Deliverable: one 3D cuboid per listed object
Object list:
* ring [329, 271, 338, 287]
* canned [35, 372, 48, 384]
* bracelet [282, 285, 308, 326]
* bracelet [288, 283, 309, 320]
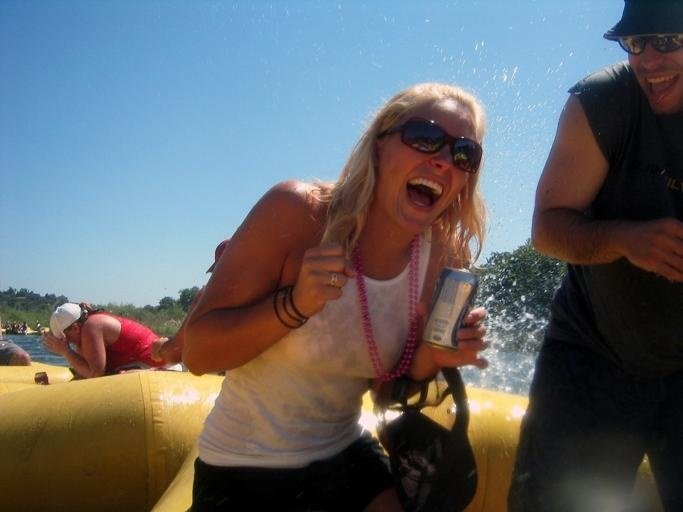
[{"bbox_3d":[-0.030,0.087,2.021,0.032,0.049,0.021,4,-9,3],"label":"ring"},{"bbox_3d":[-2.971,1.211,5.233,0.109,0.123,0.062,0,-3,1],"label":"canned"},{"bbox_3d":[-0.193,0.195,2.127,0.047,0.144,0.122,-7,8,20],"label":"bracelet"},{"bbox_3d":[-0.179,0.189,2.108,0.096,0.142,0.078,6,-10,-6],"label":"bracelet"}]
